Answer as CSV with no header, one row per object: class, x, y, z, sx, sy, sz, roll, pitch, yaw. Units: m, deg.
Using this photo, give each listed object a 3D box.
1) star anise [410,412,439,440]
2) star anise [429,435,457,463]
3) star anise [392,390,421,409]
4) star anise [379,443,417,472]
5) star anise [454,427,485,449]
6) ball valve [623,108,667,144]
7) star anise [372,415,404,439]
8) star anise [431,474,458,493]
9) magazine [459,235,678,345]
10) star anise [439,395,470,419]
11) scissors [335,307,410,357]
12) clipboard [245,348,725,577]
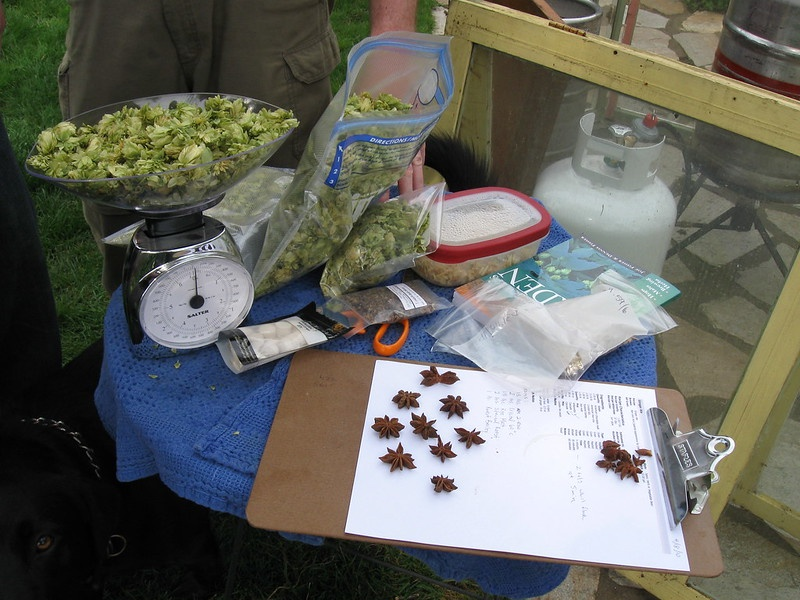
star anise,0.051,0.259,1.403,0.045,0.014,0.043,40,32,9
star anise,0.094,0.298,1.374,0.036,0.014,0.040,-33,57,-32
star anise,0.013,0.210,1.441,0.036,0.018,0.042,7,15,32
star anise,-0.003,0.313,1.361,0.048,0.019,0.053,-2,32,-1
star anise,0.140,0.279,1.390,0.038,0.014,0.037,17,-2,28
ball valve,0.667,-0.462,1.834,0.093,0.065,0.043,22,51,16
star anise,-0.021,0.250,1.380,0.044,0.016,0.045,-2,40,-18
star anise,0.082,0.358,1.331,0.031,0.013,0.032,10,17,10
magazine,0.432,-0.057,1.674,0.300,0.078,0.305,-24,48,-22
star anise,0.112,0.222,1.433,0.040,0.018,0.044,24,43,17
scissors,-0.031,0.088,1.554,0.122,0.032,0.094,33,46,32
clipboard,0.141,0.310,1.393,0.836,0.041,0.403,6,51,2
